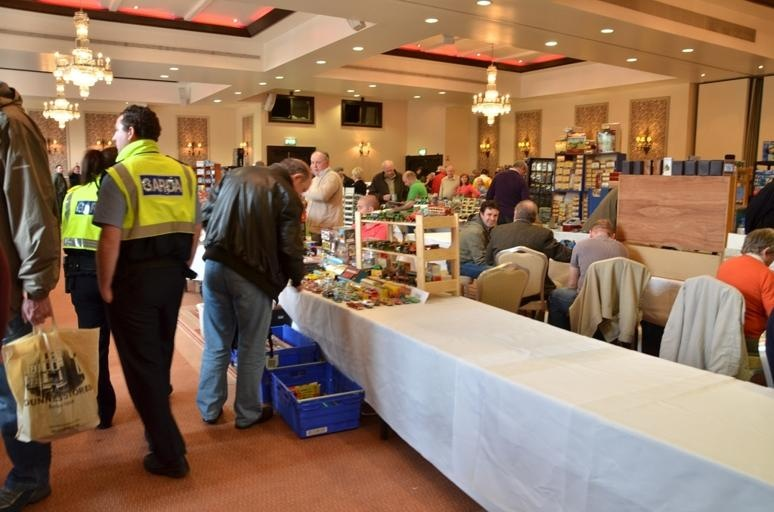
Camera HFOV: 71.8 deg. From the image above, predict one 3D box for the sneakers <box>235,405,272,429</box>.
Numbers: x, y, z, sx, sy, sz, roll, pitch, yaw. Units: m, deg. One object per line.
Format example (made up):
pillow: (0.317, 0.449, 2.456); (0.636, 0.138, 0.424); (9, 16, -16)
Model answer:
sneakers: (-1.003, 1.205, 4.003); (0.098, 0.120, 0.280); (14, 20, 30)

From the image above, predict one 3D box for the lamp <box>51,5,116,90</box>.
lamp: (-4.534, -3.016, 7.866); (0.783, 1.185, 0.794); (0, 15, -27)

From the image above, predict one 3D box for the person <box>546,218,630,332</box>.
person: (2.064, 0.329, 5.329); (0.635, 1.330, 0.755); (1, 8, 3)

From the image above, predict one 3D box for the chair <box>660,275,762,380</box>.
chair: (2.183, 0.484, 3.542); (0.382, 0.626, 0.582); (-9, 18, -25)

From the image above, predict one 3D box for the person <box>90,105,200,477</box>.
person: (-1.509, 0.220, 3.387); (0.521, 2.257, 0.674); (-1, 14, -11)

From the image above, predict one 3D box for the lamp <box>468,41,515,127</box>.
lamp: (2.052, -3.378, 10.416); (0.723, 1.513, 0.713); (3, 14, 18)

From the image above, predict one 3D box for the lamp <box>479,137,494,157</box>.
lamp: (2.980, -3.262, 15.946); (0.238, 0.786, 0.577); (-2, 6, -26)

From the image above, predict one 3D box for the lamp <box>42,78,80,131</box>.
lamp: (-7.178, -3.362, 11.706); (0.688, 1.083, 0.705); (10, 14, 20)

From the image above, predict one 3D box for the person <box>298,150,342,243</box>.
person: (-0.819, -0.498, 6.470); (0.459, 1.397, 0.519); (-6, 12, -40)

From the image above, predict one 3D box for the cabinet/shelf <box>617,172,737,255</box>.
cabinet/shelf: (3.133, -0.450, 5.694); (0.289, 0.620, 0.858); (-3, 8, -35)

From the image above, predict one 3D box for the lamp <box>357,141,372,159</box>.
lamp: (-0.679, -3.273, 16.322); (0.530, 0.458, 0.161); (-11, 19, -41)

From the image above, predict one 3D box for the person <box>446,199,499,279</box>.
person: (1.141, -0.148, 6.176); (0.711, 0.898, 0.653); (2, 7, 8)

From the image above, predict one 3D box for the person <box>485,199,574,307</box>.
person: (1.587, 0.003, 6.149); (0.943, 1.354, 0.814); (0, 15, 3)
